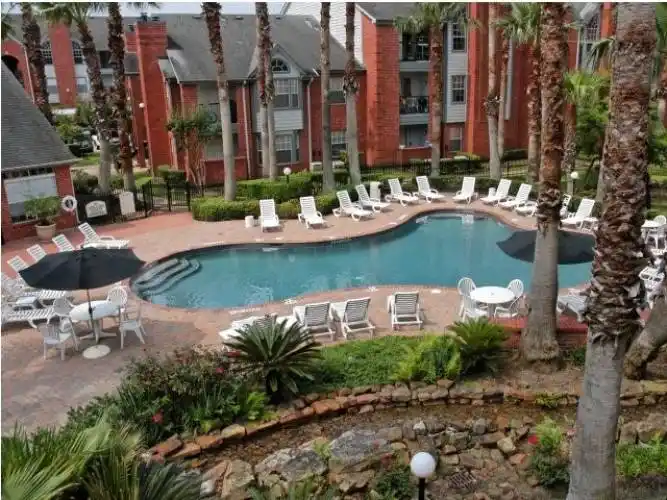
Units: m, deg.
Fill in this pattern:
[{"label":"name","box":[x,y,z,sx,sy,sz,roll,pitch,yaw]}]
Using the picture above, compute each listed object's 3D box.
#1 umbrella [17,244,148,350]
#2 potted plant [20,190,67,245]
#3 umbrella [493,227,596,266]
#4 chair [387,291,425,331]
[{"label":"umbrella","box":[-6.995,1.450,14.602,3.159,2.923,3.136,-1,31,-11]},{"label":"potted plant","box":[-15.069,-1.578,26.087,2.042,2.580,2.341,1,4,21]},{"label":"umbrella","box":[6.489,-0.135,14.468,1.765,0.671,1.756,11,27,34]},{"label":"chair","box":[2.299,1.771,15.408,1.028,1.225,0.989,-5,14,8]}]
